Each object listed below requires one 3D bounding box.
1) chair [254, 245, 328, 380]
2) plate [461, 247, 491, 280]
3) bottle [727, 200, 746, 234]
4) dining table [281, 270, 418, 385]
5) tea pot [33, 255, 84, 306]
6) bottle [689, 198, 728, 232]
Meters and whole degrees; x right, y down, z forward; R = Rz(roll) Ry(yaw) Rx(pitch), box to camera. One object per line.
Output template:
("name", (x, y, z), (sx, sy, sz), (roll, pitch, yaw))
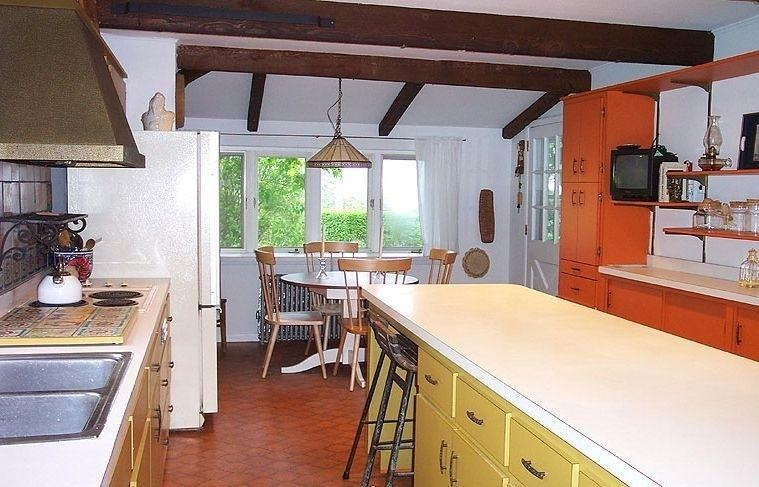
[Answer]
("chair", (-0.958, 0.627, 5.937), (0.700, 1.257, 1.604), (-1, 7, -8))
("plate", (1.270, 0.258, 7.139), (0.405, 0.376, 0.129), (7, 1, -12))
("bottle", (2.660, -0.202, 4.064), (0.093, 0.210, 0.127), (-8, 11, -44))
("dining table", (-0.071, 0.683, 4.965), (0.610, 1.053, 0.640), (4, 3, -29))
("tea pot", (-1.799, 0.228, 3.076), (0.238, 0.231, 0.249), (2, -1, 0))
("bottle", (2.564, -0.226, 4.217), (0.259, 0.231, 0.222), (-3, 8, -32))
